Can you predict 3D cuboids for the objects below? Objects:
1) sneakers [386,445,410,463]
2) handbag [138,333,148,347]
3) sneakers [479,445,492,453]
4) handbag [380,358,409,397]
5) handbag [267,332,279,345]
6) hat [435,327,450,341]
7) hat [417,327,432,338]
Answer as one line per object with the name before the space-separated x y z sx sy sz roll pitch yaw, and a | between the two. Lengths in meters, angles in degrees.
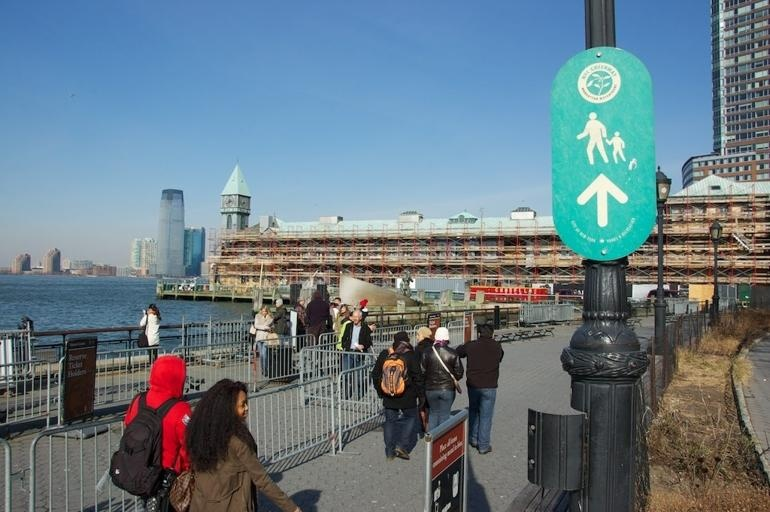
sneakers | 0.245 3.382 11.865 0.367 0.187 0.195 0 -7 -10
handbag | -6.197 2.021 17.087 0.179 0.358 0.286 -6 -7 35
sneakers | 1.909 3.422 12.404 0.327 0.110 0.139 -2 -1 -36
handbag | 0.166 2.014 11.935 0.451 0.691 0.354 0 3 15
handbag | -2.904 2.041 17.408 0.254 0.267 0.267 -1 -2 -2
hat | 1.078 1.374 12.473 0.183 0.245 0.254 -2 -14 7
hat | 0.764 1.423 13.179 0.229 0.246 0.180 6 5 42
